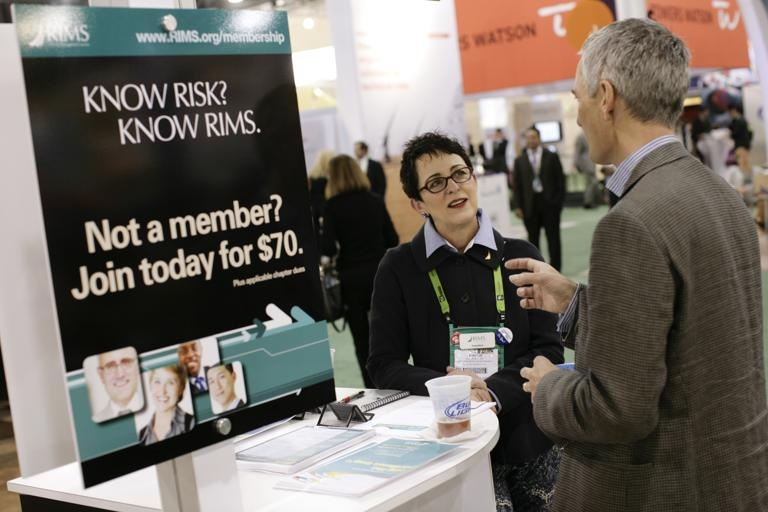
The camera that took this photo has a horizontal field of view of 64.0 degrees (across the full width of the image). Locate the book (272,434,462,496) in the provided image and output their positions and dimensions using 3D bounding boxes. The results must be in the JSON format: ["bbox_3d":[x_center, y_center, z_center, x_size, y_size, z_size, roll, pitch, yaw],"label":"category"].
[{"bbox_3d":[-0.039,0.555,1.643,0.453,0.034,0.249,-15,15,-36],"label":"book"}]

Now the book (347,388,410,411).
[{"bbox_3d":[-0.026,0.499,2.133,0.183,0.036,0.213,-2,13,19],"label":"book"}]

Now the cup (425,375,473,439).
[{"bbox_3d":[0.186,0.415,1.744,0.155,0.170,0.158,-5,-5,0],"label":"cup"}]
